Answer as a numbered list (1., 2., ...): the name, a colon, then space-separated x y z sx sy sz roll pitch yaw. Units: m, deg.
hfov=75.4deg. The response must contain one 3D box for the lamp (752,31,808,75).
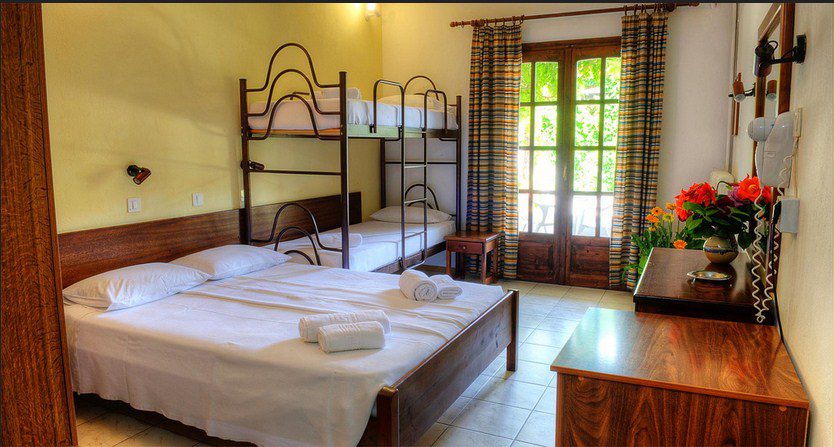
1. lamp: 2.066 -0.965 3.090 0.257 0.197 0.134 -1 36 20

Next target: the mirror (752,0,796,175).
1. mirror: 2.186 -0.815 3.302 0.067 0.780 1.493 2 11 24

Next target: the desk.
1. desk: 1.843 0.416 3.566 0.481 0.371 0.829 2 10 23

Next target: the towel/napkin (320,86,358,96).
1. towel/napkin: -0.787 -1.330 5.453 0.372 0.128 0.403 -1 9 -13

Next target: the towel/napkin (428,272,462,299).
1. towel/napkin: 0.222 0.521 4.498 0.237 0.076 0.222 0 8 -1

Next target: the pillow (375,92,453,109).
1. pillow: -0.033 -1.504 6.612 0.498 0.118 0.544 12 15 37

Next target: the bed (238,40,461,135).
1. bed: -0.653 -1.490 6.249 1.335 1.040 2.569 6 10 28

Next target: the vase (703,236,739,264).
1. vase: 2.218 0.203 3.955 0.235 0.186 0.217 1 -6 -1

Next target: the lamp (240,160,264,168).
1. lamp: -1.716 -0.614 5.593 0.124 0.058 0.164 3 0 30

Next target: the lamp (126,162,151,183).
1. lamp: -2.488 -0.447 4.783 0.180 0.175 0.073 -4 11 -26

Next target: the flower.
1. flower: 2.138 -0.048 3.643 0.590 0.378 0.554 5 -6 -26

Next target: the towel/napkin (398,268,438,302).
1. towel/napkin: 0.008 0.432 4.413 0.227 0.148 0.399 4 2 -8

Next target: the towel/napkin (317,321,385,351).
1. towel/napkin: -0.441 0.749 3.680 0.464 0.143 0.240 1 7 -12
